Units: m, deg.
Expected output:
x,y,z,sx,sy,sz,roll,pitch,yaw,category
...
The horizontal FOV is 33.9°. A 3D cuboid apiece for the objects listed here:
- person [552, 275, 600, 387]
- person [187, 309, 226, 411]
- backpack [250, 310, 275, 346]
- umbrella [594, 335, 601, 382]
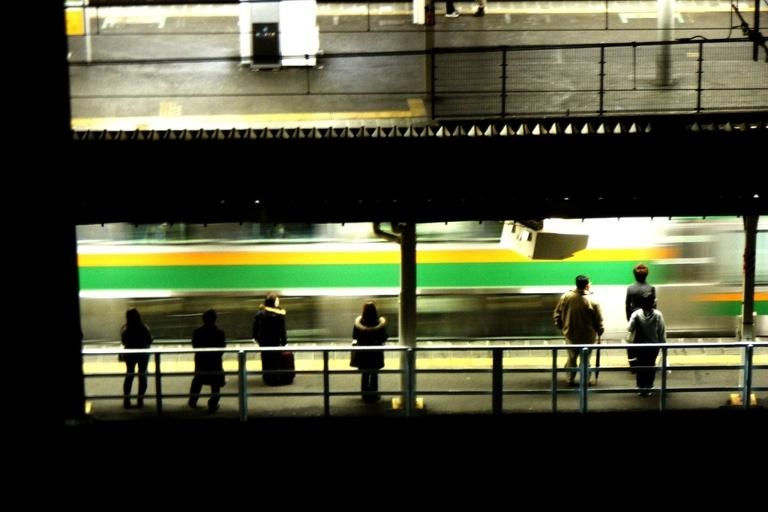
x,y,z,sx,sy,sz,roll,pitch,yaw,category
3.496,1.352,22.787,0.868,1.936,1.289,-1,-2,6,person
-3.085,1.818,21.756,0.611,1.713,1.346,0,-2,-7,person
-2.167,1.326,22.943,0.505,0.566,0.205,-2,0,9,backpack
3.778,1.863,22.519,0.158,0.871,0.050,4,-9,6,umbrella
